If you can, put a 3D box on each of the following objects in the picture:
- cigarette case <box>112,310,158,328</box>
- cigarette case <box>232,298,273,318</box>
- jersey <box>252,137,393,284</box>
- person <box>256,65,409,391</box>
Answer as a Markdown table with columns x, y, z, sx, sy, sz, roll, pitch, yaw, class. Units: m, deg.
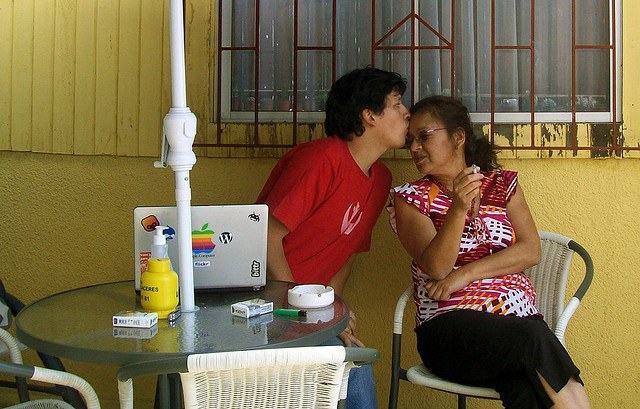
| x | y | z | sx | sy | sz | roll | pitch | yaw | class |
| --- | --- | --- | --- | --- | --- | --- | --- | --- | --- |
| -0.780 | 0.466 | 2.624 | 0.114 | 0.043 | 0.086 | 3 | 6 | 9 | cigarette case |
| -0.297 | 0.437 | 2.732 | 0.080 | 0.039 | 0.111 | 8 | 11 | 44 | cigarette case |
| 0.052 | 0.031 | 3.469 | 0.747 | 0.810 | 0.289 | -2 | 3 | -20 | jersey |
| 0.080 | -0.031 | 3.530 | 0.748 | 1.968 | 0.784 | -10 | -12 | 37 | person |
